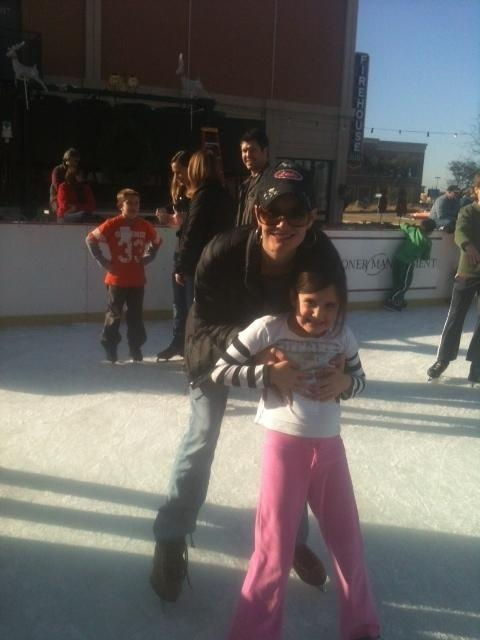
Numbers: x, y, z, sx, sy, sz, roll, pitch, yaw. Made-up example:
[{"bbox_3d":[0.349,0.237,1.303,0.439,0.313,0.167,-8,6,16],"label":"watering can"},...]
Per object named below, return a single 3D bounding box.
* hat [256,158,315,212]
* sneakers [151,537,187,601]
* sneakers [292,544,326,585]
[{"bbox_3d":[0.134,-0.378,1.544,0.122,0.107,0.183,2,4,9],"label":"hat"},{"bbox_3d":[-0.232,0.767,1.757,0.079,0.105,0.250,6,51,-30],"label":"sneakers"},{"bbox_3d":[0.239,0.862,1.913,0.081,0.072,0.159,5,2,-18],"label":"sneakers"}]
